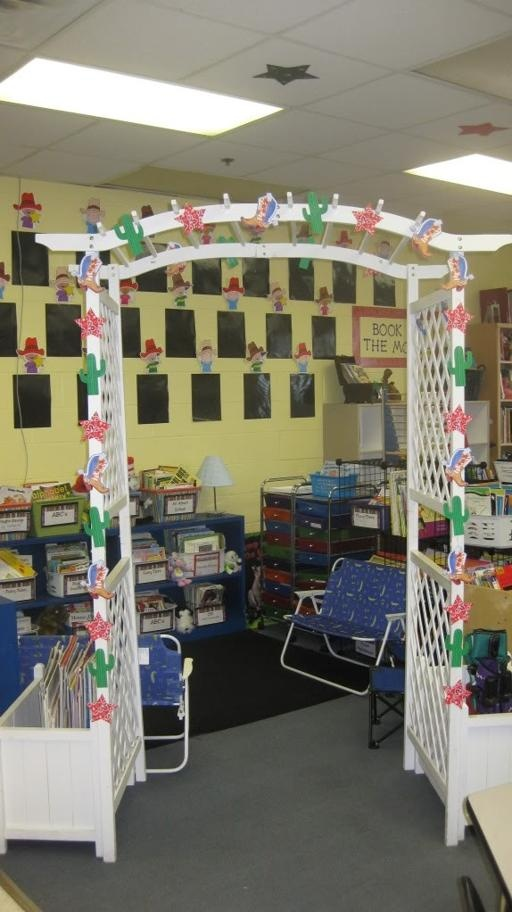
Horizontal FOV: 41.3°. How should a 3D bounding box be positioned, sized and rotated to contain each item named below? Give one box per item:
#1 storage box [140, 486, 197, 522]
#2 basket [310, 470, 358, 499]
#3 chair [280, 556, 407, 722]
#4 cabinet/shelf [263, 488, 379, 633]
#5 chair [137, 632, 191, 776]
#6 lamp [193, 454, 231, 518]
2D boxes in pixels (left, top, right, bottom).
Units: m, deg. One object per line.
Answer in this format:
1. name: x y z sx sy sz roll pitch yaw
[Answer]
1. storage box: -0.624 0.348 4.973 0.406 0.255 0.146 -1 -2 -15
2. basket: 0.577 0.209 5.117 0.254 0.147 0.186 2 1 36
3. chair: 0.535 0.957 3.915 0.522 0.722 0.711 7 -3 -38
4. cabinet/shelf: 0.323 0.646 5.377 0.723 0.958 0.724 3 6 35
5. chair: -0.448 1.145 3.115 0.323 0.560 0.329 -6 -21 7
6. lamp: -0.307 0.220 5.139 0.249 0.446 0.257 -3 4 -33
